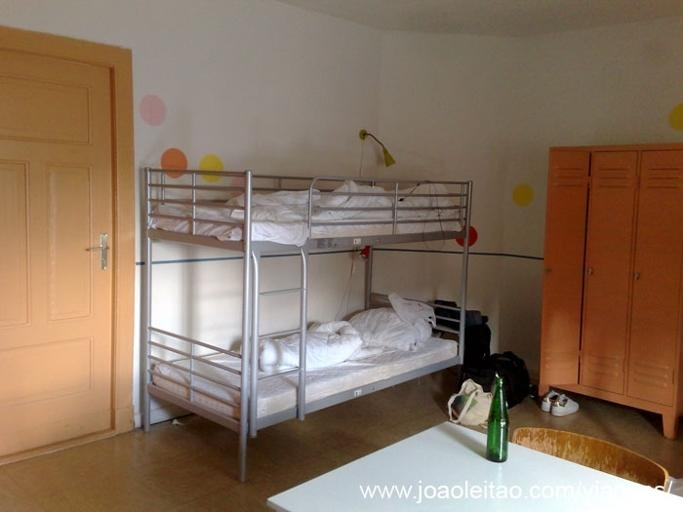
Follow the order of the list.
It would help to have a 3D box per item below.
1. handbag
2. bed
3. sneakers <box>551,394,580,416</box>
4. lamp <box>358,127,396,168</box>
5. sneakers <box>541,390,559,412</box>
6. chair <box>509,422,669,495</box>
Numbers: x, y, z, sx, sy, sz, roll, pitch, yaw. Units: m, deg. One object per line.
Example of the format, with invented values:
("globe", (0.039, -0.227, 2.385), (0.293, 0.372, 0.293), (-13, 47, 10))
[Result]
("handbag", (1.337, 0.889, 5.233), (1.143, 1.056, 0.720), (0, 1, 35))
("bed", (-0.163, 0.243, 4.932), (1.228, 1.858, 2.759), (7, 7, 40))
("sneakers", (1.968, 1.313, 4.907), (0.126, 0.128, 0.313), (11, 12, 41))
("lamp", (0.360, -1.121, 5.699), (0.406, 0.397, 0.596), (2, 11, 4))
("sneakers", (1.876, 1.298, 5.001), (0.086, 0.095, 0.253), (6, 6, 34))
("chair", (1.226, 0.893, 2.735), (0.514, 0.159, 0.362), (4, 1, 44))
